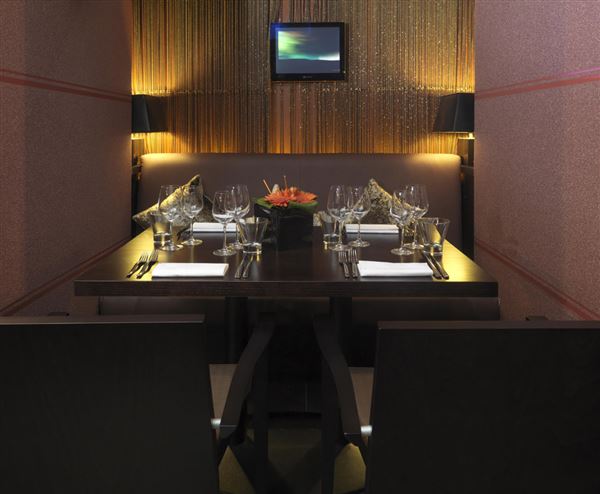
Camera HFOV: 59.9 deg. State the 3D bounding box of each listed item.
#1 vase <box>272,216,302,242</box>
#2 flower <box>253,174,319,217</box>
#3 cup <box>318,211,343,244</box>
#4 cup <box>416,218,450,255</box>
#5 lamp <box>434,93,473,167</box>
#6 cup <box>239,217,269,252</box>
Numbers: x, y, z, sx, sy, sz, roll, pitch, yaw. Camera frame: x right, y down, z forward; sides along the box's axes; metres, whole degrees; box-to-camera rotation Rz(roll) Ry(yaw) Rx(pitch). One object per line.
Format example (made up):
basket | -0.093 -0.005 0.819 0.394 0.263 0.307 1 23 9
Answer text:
vase | -0.043 -0.058 1.797 0.078 0.089 0.083 1 8 5
flower | -0.079 -0.189 1.927 0.198 0.095 0.359 -7 17 -27
cup | 0.120 -0.076 2.014 0.095 0.126 0.109 0 3 14
cup | 0.483 -0.046 1.912 0.107 0.136 0.116 1 7 0
lamp | 1.096 -0.768 3.509 0.296 0.406 0.305 -4 11 -40
cup | -0.168 -0.047 1.834 0.107 0.130 0.110 2 9 0
